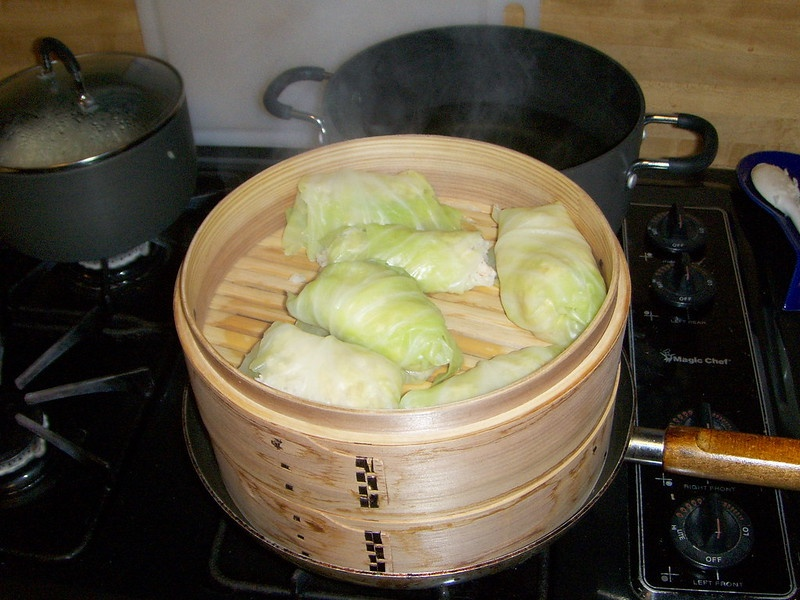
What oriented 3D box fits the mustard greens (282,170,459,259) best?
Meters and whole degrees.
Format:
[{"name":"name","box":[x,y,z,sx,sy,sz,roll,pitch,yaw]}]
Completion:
[{"name":"mustard greens","box":[-0.060,-0.222,1.636,0.341,0.098,0.216,2,78,-3]}]

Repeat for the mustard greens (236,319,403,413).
[{"name":"mustard greens","box":[-0.148,0.134,1.408,0.320,0.095,0.173,14,46,-4]}]

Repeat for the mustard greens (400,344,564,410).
[{"name":"mustard greens","box":[0.166,0.156,1.371,0.375,0.076,0.107,-18,42,-3]}]

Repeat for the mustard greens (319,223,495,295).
[{"name":"mustard greens","box":[0.013,-0.105,1.554,0.314,0.093,0.172,3,56,6]}]
